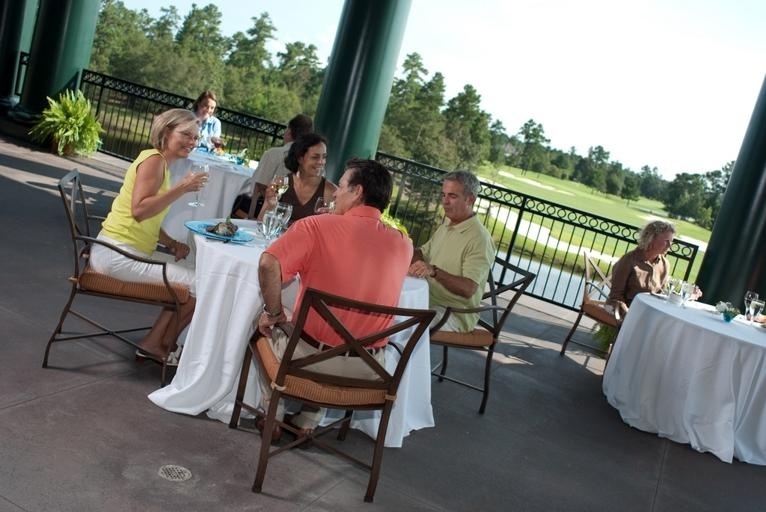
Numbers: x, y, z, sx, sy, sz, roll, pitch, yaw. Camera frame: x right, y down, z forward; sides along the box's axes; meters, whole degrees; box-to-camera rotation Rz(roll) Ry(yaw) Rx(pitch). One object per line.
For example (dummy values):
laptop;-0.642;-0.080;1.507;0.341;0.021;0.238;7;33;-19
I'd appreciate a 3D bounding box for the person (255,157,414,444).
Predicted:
person;-0.325;0.339;3.067;0.855;1.848;0.486;10;10;-15

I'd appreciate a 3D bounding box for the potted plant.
potted plant;-5.772;-2.403;9.873;1.020;0.973;0.947;19;16;12

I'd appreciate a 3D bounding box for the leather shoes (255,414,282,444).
leather shoes;-0.727;1.115;3.352;0.136;0.106;0.271;14;36;-32

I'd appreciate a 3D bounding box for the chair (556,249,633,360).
chair;2.463;0.653;5.869;0.654;0.873;0.660;19;8;4

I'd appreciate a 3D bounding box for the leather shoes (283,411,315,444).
leather shoes;-0.522;1.074;3.337;0.265;0.103;0.096;28;-14;23

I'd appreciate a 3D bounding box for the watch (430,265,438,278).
watch;0.377;0.111;3.900;0.032;0.078;0.064;3;-10;4

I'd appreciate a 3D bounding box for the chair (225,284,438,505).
chair;-0.378;0.704;3.301;1.039;1.356;1.140;20;11;15

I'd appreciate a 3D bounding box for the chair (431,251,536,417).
chair;0.731;0.662;4.440;0.838;1.210;0.800;8;-2;28

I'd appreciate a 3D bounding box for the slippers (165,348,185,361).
slippers;-1.472;0.704;3.743;0.088;0.071;0.123;-4;5;-30

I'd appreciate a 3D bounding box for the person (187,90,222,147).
person;-2.254;-1.672;6.661;0.403;0.771;0.485;8;23;-21

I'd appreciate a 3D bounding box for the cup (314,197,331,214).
cup;-0.435;-0.361;3.868;0.140;0.174;0.142;0;6;0

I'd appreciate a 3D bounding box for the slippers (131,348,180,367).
slippers;-1.600;0.723;3.708;0.201;0.093;0.075;24;-5;8

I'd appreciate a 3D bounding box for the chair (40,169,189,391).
chair;-1.829;0.175;3.687;0.856;1.214;0.669;8;1;-34

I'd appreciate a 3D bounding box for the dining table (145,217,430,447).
dining table;-0.681;0.439;3.547;1.588;1.002;1.301;5;-13;35
